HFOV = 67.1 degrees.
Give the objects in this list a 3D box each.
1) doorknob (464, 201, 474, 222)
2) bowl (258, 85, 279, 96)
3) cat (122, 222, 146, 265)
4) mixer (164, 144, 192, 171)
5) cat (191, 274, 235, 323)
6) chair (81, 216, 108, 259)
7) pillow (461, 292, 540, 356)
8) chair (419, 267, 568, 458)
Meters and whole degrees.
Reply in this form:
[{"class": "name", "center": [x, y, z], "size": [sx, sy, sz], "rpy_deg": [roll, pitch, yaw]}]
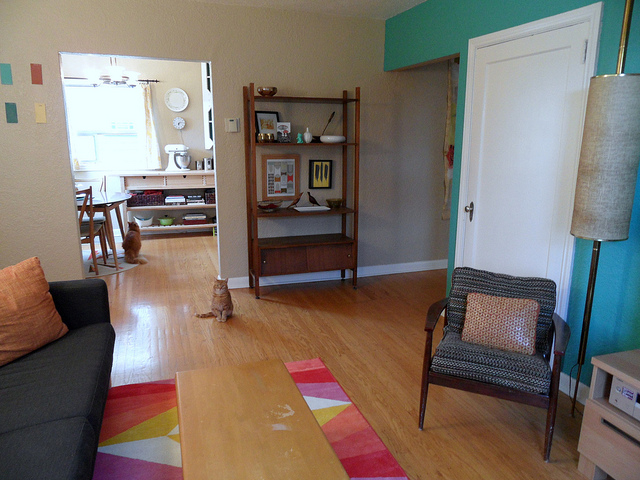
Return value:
[{"class": "doorknob", "center": [1.301, -0.254, 4.196], "size": [0.055, 0.178, 0.170], "rpy_deg": [0, 3, -6]}, {"class": "bowl", "center": [-0.532, -1.545, 4.983], "size": [0.203, 0.129, 0.301], "rpy_deg": [-2, 12, -6]}, {"class": "cat", "center": [-2.458, 0.076, 6.334], "size": [0.252, 0.421, 0.799], "rpy_deg": [-1, 30, -15]}, {"class": "mixer", "center": [-2.274, -1.317, 7.714], "size": [0.479, 0.488, 0.294], "rpy_deg": [-3, 13, -15]}, {"class": "cat", "center": [-0.988, 0.541, 4.610], "size": [0.424, 0.403, 0.253], "rpy_deg": [1, 3, 44]}, {"class": "chair", "center": [-2.767, -0.048, 5.945], "size": [0.438, 0.499, 0.420], "rpy_deg": [0, 1, 40]}, {"class": "pillow", "center": [1.203, 0.561, 3.171], "size": [0.327, 0.138, 0.269], "rpy_deg": [8, 55, 23]}, {"class": "chair", "center": [1.156, 0.762, 3.217], "size": [0.856, 1.002, 0.686], "rpy_deg": [3, 13, 20]}]
